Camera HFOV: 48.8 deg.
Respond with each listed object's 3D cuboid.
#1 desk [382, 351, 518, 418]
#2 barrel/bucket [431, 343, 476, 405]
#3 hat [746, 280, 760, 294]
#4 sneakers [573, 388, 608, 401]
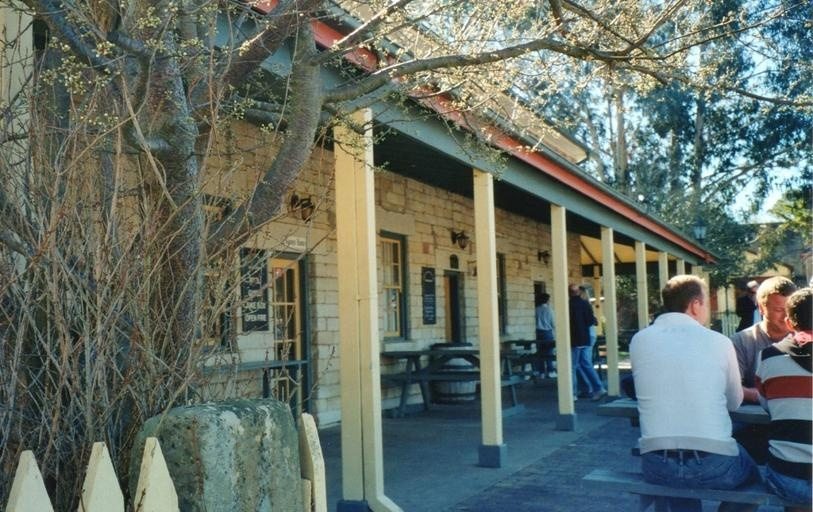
[{"bbox_3d":[0.571,1.965,14.140,1.867,1.143,2.568,-1,2,-3],"label":"desk"},{"bbox_3d":[0.812,1.913,14.564,0.920,0.980,0.912,-1,-8,0],"label":"barrel/bucket"},{"bbox_3d":[4.988,0.445,12.931,0.149,0.148,0.126,-32,19,-17],"label":"hat"},{"bbox_3d":[3.281,2.457,15.930,0.659,0.298,0.231,-3,-3,32],"label":"sneakers"}]
